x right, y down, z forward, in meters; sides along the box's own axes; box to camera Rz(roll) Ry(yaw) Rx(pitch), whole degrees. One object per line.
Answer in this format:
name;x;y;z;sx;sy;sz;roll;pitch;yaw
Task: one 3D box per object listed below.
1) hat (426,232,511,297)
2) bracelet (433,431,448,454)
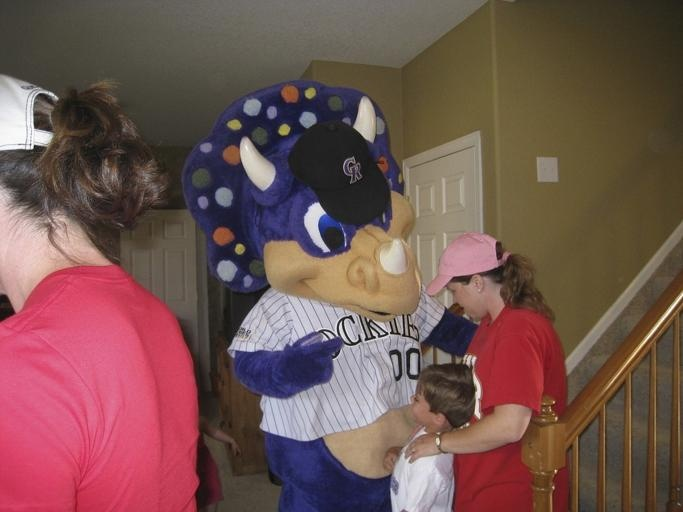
hat;0.540;0.003;2.503;0.389;0.215;0.283;-17;-3;33
bracelet;0.345;0.653;2.136;0.032;0.065;0.035;0;2;9
